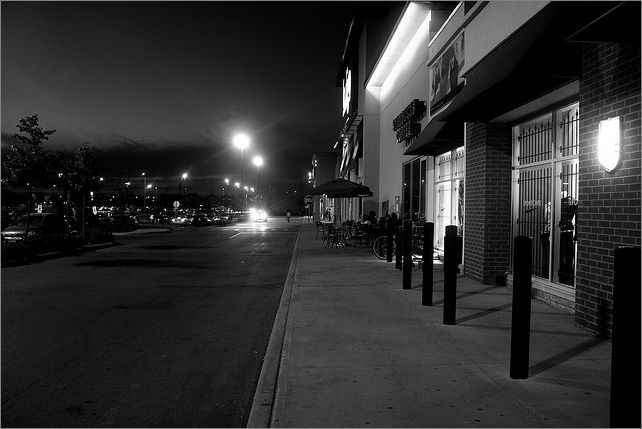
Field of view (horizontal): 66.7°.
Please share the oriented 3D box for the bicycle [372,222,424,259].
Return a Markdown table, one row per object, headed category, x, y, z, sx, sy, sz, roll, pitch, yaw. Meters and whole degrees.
| category | x | y | z | sx | sy | sz | roll | pitch | yaw |
| --- | --- | --- | --- | --- | --- | --- | --- | --- | --- |
| bicycle | 2.887 | 1.067 | 17.631 | 1.967 | 1.337 | 1.034 | -2 | 5 | -1 |
